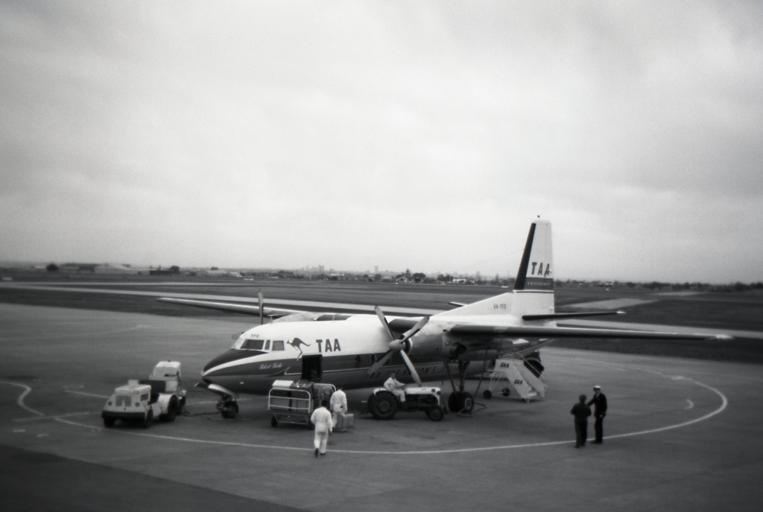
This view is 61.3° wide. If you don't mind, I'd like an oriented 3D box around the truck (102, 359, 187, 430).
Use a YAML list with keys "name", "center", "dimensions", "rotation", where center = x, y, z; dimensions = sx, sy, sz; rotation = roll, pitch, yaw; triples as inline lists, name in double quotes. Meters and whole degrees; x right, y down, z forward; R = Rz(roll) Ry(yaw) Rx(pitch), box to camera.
- name: "truck"
  center: [-11.107, 6.586, 30.856]
  dimensions: [2.369, 2.227, 4.336]
  rotation: [3, 0, 10]
